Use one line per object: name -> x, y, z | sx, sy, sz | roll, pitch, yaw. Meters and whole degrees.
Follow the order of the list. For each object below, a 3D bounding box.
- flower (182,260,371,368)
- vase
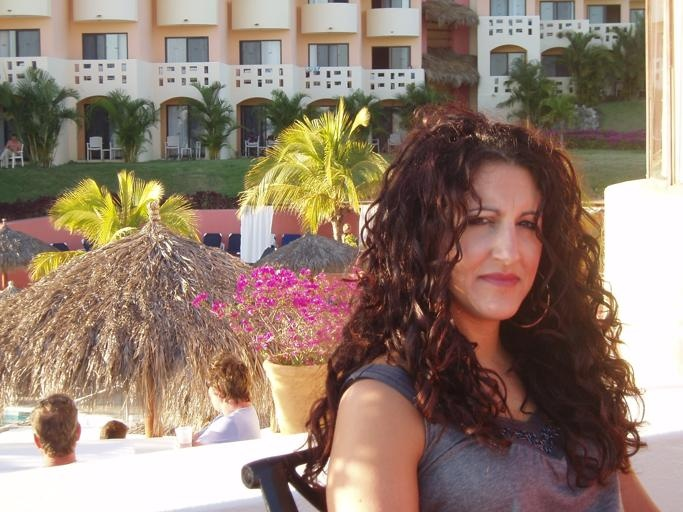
flower -> -0.421, 0.365, 6.170 | 0.803, 0.795, 1.058 | -15, -9, 40
vase -> -0.227, 0.769, 5.597 | 0.453, 0.534, 0.456 | 1, 2, -25
